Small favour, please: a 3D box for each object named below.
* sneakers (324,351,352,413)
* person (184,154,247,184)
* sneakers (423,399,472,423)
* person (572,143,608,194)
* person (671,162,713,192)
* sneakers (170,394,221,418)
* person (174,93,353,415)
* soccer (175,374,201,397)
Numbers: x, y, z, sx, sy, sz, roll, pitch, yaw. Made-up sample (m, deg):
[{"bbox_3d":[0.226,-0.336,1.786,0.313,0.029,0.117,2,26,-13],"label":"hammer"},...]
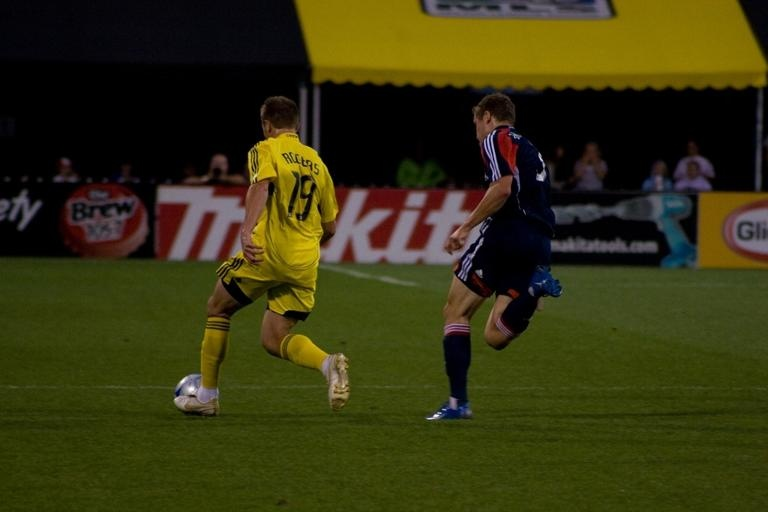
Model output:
[{"bbox_3d":[-0.425,1.133,10.939,0.190,0.249,0.552,3,40,-6],"label":"sneakers"},{"bbox_3d":[-3.780,-1.945,26.420,1.246,0.525,1.221,-1,1,-1],"label":"person"},{"bbox_3d":[0.586,1.503,11.443,0.500,0.194,0.164,-1,-3,-3],"label":"sneakers"},{"bbox_3d":[4.175,-1.823,24.240,0.582,0.866,0.534,-6,13,-41],"label":"person"},{"bbox_3d":[5.963,-1.578,23.125,0.752,0.596,0.427,5,6,23],"label":"person"},{"bbox_3d":[-1.790,1.414,11.375,0.395,0.176,0.175,9,1,6],"label":"sneakers"},{"bbox_3d":[-1.007,0.047,11.226,1.531,3.028,0.927,4,9,6],"label":"person"},{"bbox_3d":[-1.868,1.238,11.491,0.219,0.144,0.213,-10,-15,29],"label":"soccer"}]
